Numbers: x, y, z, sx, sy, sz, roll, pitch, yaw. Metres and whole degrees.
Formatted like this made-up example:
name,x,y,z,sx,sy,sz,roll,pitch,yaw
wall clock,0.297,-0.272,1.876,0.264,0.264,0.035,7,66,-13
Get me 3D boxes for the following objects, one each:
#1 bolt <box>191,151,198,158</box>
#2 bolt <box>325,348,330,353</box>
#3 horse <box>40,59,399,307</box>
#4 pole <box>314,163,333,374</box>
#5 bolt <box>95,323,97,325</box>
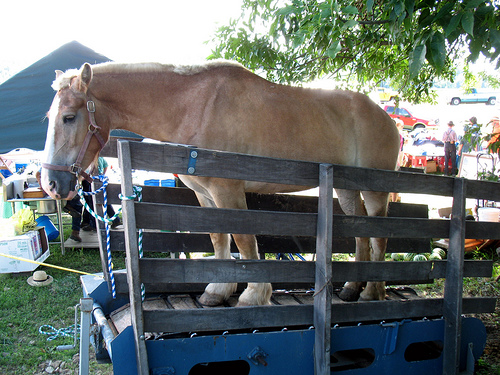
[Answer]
name,x,y,z,sx,sy,sz,roll,pitch,yaw
bolt,-0.395,-0.236,3.191,0.045,0.045,0.005,-1,2,-14
bolt,0.586,1.230,3.387,0.027,0.007,0.029,21,-43,-21
horse,0.262,-0.254,5.710,4.893,3.738,1.459,-2,-1,-18
pole,0.558,0.636,3.403,0.136,1.629,0.112,0,2,11
bolt,-1.277,1.127,3.702,0.019,0.022,0.020,1,-2,-21
